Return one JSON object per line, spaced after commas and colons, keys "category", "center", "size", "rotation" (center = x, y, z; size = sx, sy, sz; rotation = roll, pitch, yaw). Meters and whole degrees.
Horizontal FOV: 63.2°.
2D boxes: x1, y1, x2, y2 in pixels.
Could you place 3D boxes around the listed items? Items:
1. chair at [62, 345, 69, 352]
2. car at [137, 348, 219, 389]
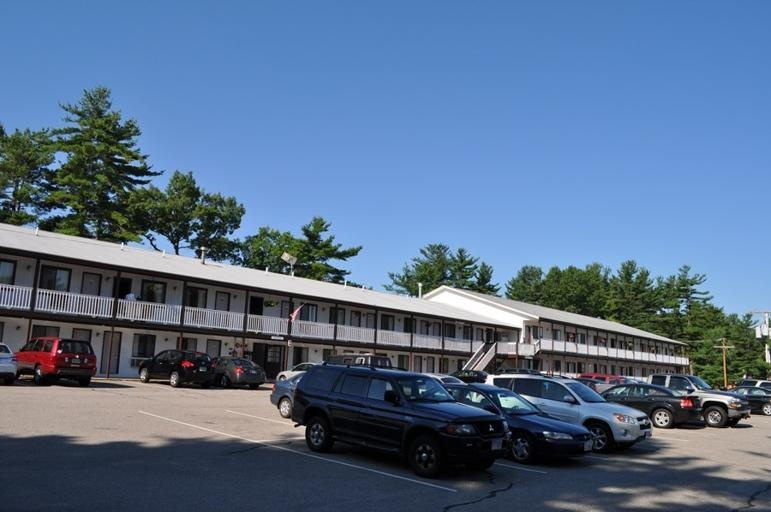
{"category": "chair", "center": [-14.297, 4.175, 28.267], "size": [0.291, 0.250, 0.269], "rotation": [-2, -14, 4]}
{"category": "car", "center": [-11.069, 5.968, 33.475], "size": [3.865, 1.370, 1.998], "rotation": [-1, -10, 38]}
